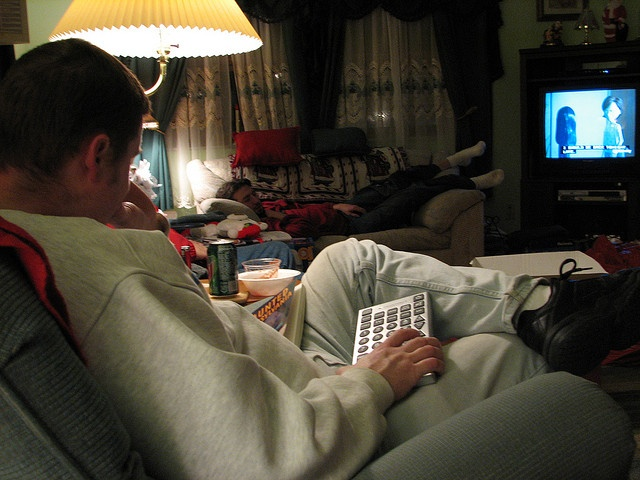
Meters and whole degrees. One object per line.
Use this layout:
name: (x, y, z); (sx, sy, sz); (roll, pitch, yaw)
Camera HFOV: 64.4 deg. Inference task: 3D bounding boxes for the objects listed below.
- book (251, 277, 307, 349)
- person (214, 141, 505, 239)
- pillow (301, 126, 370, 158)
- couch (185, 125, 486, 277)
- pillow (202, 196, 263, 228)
book: (-0.104, 0.202, 1.308); (0.024, 0.149, 0.211); (22, -33, -36)
person: (0.182, -0.346, 3.445); (1.328, 0.465, 0.342); (-18, 26, 4)
pillow: (0.120, -0.767, 3.894); (0.524, 0.109, 0.463); (-14, 40, -17)
couch: (0.434, -0.177, 3.580); (2.508, 0.869, 0.768); (-10, 35, 0)
pillow: (-0.571, -0.200, 3.166); (0.256, 0.069, 0.234); (15, -2, 13)
